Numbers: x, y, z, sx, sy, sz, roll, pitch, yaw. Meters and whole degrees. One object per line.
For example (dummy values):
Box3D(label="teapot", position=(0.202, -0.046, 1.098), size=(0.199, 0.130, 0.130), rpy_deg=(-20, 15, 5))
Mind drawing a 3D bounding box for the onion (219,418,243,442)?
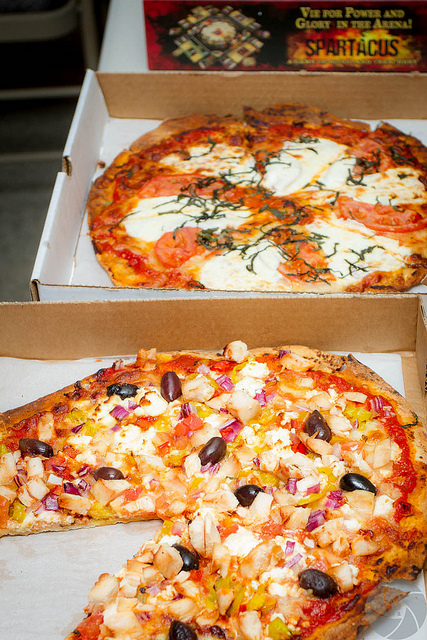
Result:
Box3D(label="onion", position=(0.040, 0.256, 1.315), size=(0.047, 0.021, 0.047), rpy_deg=(32, 69, -4))

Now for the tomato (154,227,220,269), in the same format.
Box3D(label="tomato", position=(-0.105, -0.223, 1.915), size=(0.223, 0.302, 0.069), rpy_deg=(10, 76, -13))

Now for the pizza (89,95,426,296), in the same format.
Box3D(label="pizza", position=(0.163, -0.497, 2.034), size=(1.244, 0.290, 1.075), rpy_deg=(1, 39, 4))

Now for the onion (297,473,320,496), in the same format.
Box3D(label="onion", position=(0.192, 0.336, 1.151), size=(0.041, 0.016, 0.031), rpy_deg=(-21, 73, -7))

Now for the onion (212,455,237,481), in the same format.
Box3D(label="onion", position=(0.030, 0.323, 1.224), size=(0.032, 0.017, 0.069), rpy_deg=(29, 48, 33))
